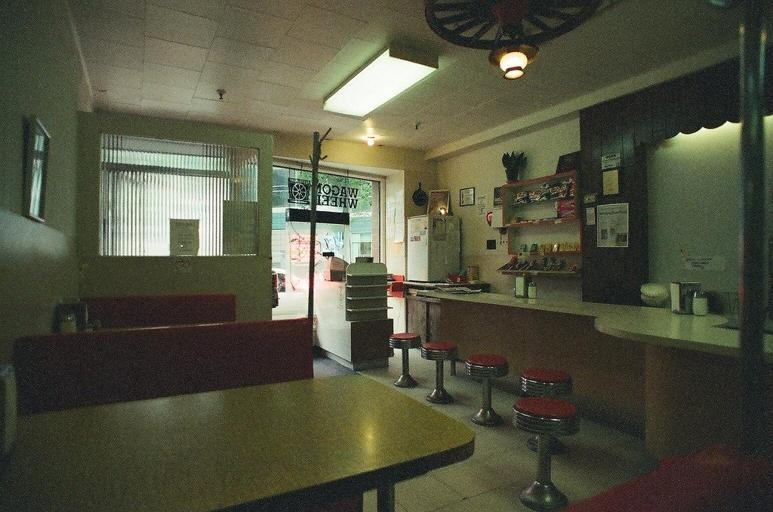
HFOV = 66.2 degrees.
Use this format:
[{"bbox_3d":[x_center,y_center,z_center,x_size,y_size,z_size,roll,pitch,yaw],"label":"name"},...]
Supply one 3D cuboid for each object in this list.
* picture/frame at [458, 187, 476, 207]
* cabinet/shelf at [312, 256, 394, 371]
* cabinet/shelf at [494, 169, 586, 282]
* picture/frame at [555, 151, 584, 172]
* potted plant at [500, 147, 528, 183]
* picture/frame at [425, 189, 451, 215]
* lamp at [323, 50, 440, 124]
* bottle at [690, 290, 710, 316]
[{"bbox_3d":[1.227,-0.904,9.077,0.030,0.270,0.335,0,2,-27],"label":"picture/frame"},{"bbox_3d":[-0.453,0.780,7.544,0.603,1.239,1.493,-2,2,-27],"label":"cabinet/shelf"},{"bbox_3d":[2.001,-0.391,7.597,0.475,1.378,1.544,3,-4,-27],"label":"cabinet/shelf"},{"bbox_3d":[2.248,-1.150,7.260,0.136,0.256,0.282,12,-15,-27],"label":"picture/frame"},{"bbox_3d":[1.705,-1.218,7.998,0.402,0.430,0.407,2,3,5],"label":"potted plant"},{"bbox_3d":[0.825,-0.852,9.539,0.488,0.562,0.042,1,-6,32],"label":"picture/frame"},{"bbox_3d":[-0.101,-1.929,6.631,0.827,0.577,1.415,-7,15,-22],"label":"lamp"},{"bbox_3d":[2.599,0.392,4.926,0.120,0.183,0.154,3,15,20],"label":"bottle"}]
